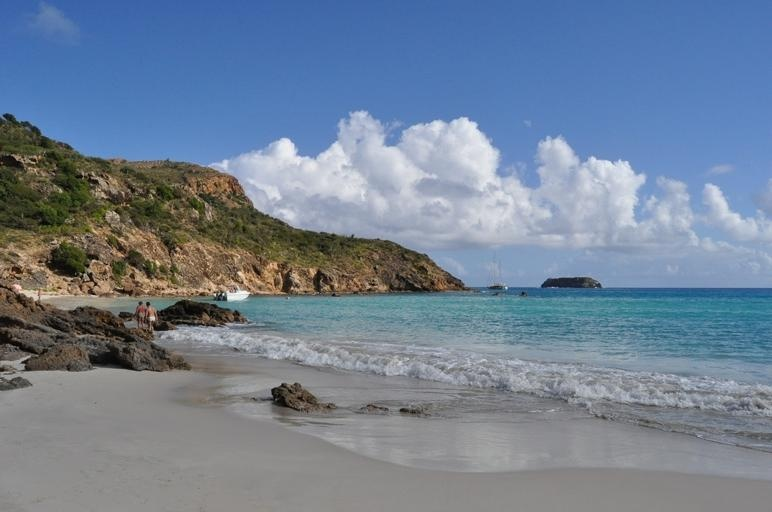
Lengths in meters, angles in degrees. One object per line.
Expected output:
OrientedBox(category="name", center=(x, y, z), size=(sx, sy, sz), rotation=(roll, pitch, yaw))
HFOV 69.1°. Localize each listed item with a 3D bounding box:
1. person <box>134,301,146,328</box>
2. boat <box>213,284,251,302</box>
OrientedBox(category="person", center=(-14.411, 3.499, 32.808), size=(0.399, 1.529, 1.488), rotation=(0, 3, -23))
OrientedBox(category="boat", center=(-19.697, 4.807, 71.247), size=(3.829, 1.789, 5.670), rotation=(0, 3, -19))
